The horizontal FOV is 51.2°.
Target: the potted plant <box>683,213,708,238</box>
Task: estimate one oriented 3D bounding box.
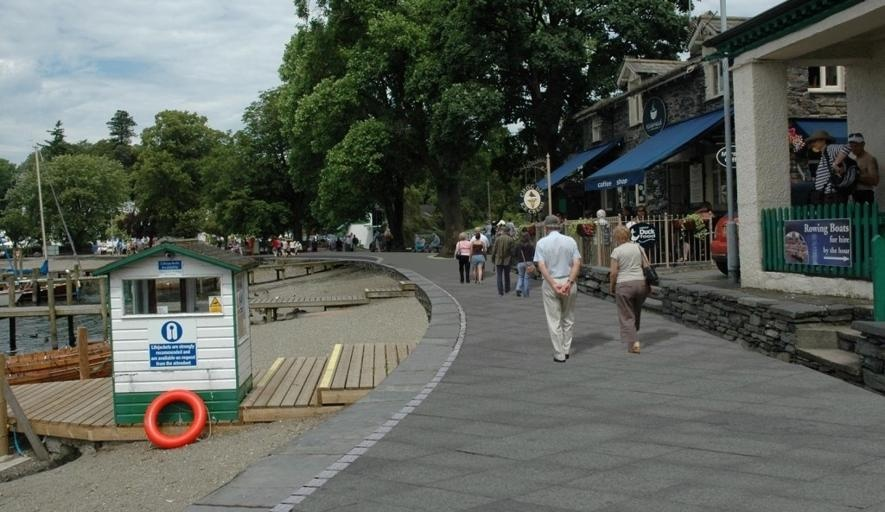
[{"bbox_3d":[7.863,-0.910,28.314,1.002,0.680,0.459,-5,1,-36],"label":"potted plant"}]

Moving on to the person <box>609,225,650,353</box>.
[{"bbox_3d":[4.338,0.779,21.710,0.981,2.798,0.944,-1,0,3],"label":"person"}]

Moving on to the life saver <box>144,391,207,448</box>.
[{"bbox_3d":[-6.065,3.691,20.932,1.410,1.355,0.333,-4,1,2],"label":"life saver"}]

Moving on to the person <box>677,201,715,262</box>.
[{"bbox_3d":[7.797,-0.754,28.638,1.079,2.111,0.987,-1,0,-14],"label":"person"}]

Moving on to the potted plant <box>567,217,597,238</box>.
[{"bbox_3d":[4.507,-0.868,29.838,0.250,0.646,0.643,7,-42,-36],"label":"potted plant"}]

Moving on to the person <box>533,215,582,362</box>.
[{"bbox_3d":[2.698,0.733,21.223,1.006,3.000,0.825,-4,1,7],"label":"person"}]
